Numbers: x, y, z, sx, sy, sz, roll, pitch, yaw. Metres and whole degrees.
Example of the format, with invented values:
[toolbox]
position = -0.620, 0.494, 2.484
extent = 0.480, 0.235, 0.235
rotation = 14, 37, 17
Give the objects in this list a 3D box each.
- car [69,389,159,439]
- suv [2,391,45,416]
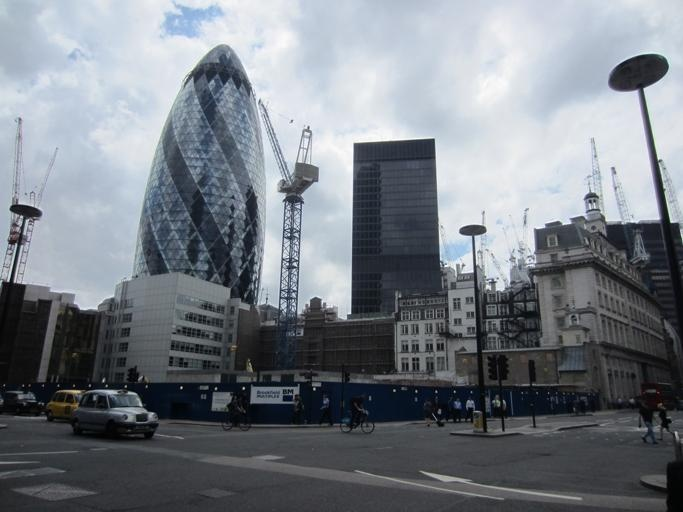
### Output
[car]
position = -10.664, 7.461, 24.060
extent = 4.009, 1.788, 2.240
rotation = -15, -24, 36
[suv]
position = -27.102, 12.390, 43.377
extent = 3.937, 1.981, 2.016
rotation = -15, -23, 39
